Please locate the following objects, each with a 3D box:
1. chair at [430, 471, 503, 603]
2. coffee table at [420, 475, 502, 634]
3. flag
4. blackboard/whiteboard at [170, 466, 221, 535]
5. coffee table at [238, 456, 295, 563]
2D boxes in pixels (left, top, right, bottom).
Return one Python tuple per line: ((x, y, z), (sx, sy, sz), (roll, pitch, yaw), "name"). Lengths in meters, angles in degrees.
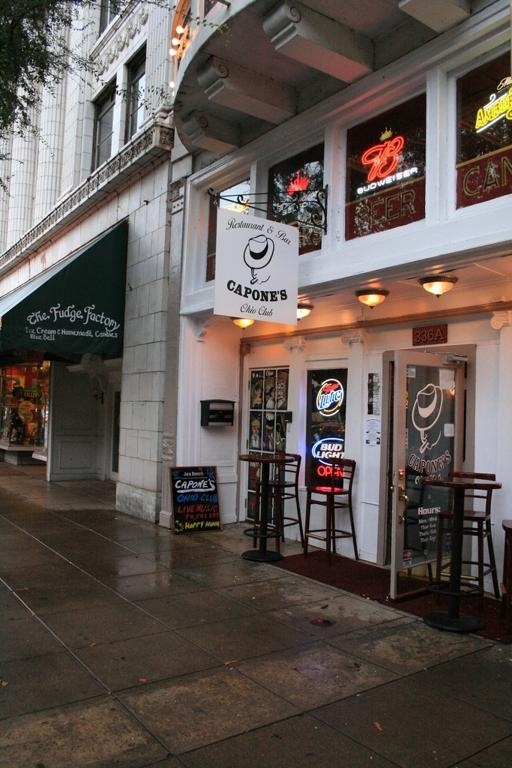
((1.864, 1.252, 5.559), (0.655, 1.296, 0.555), (3, 2, 41), "chair")
((1.618, 1.172, 4.923), (0.478, 0.818, 0.503), (1, -13, 18), "coffee table")
((-0.005, -1.137, 6.088), (1.020, 1.023, 0.144), (3, -4, -38), "flag")
((-0.838, 1.599, 8.664), (0.723, 0.886, 0.223), (3, -4, -35), "blackboard/whiteboard")
((0.153, 1.429, 7.269), (0.510, 1.215, 0.598), (0, 3, -31), "coffee table")
